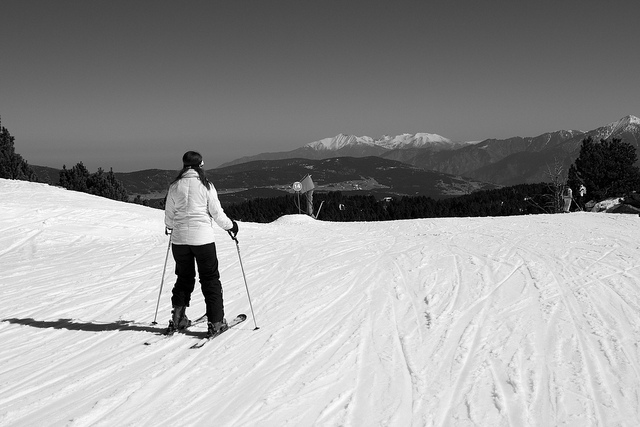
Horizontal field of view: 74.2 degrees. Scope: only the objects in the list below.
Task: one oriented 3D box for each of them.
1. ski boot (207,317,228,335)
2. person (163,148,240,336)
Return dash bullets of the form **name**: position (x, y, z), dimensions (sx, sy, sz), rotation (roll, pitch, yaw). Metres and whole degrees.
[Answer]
- **ski boot**: position (-1.873, 2.061, 7.713), dimensions (0.145, 0.197, 0.442), rotation (2, 6, 20)
- **person**: position (-2.219, 0.597, 7.600), dimensions (1.146, 3.251, 0.582), rotation (1, 12, 11)
